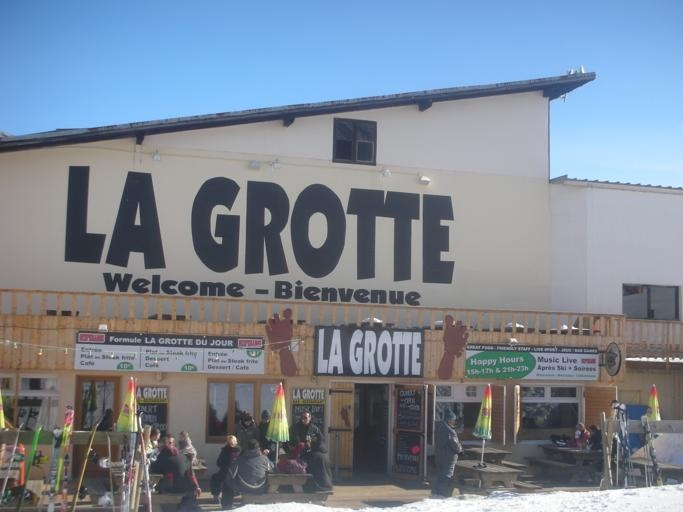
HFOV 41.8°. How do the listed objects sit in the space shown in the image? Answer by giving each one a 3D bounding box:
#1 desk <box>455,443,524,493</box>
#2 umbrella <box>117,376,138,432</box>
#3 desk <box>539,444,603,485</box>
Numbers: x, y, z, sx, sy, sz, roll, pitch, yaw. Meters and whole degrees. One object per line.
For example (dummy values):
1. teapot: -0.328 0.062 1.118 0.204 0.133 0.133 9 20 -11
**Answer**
1. desk: 3.856 5.695 24.026 1.650 0.852 3.539 -3 -7 7
2. umbrella: -4.816 3.331 20.105 0.422 1.170 1.048 0 -7 -14
3. desk: 6.718 6.127 26.395 1.830 1.078 1.356 -4 -7 17
